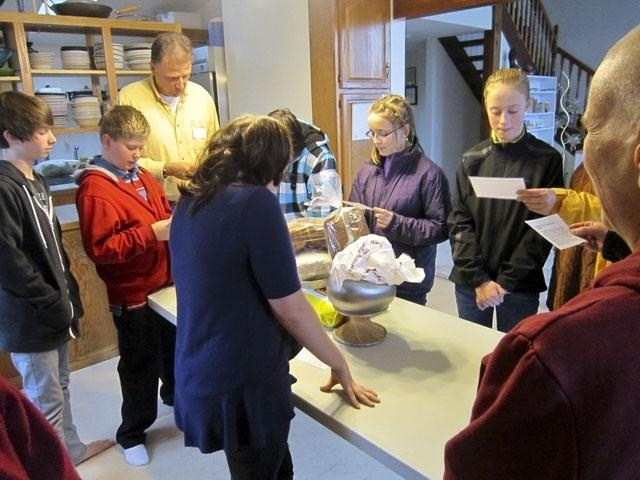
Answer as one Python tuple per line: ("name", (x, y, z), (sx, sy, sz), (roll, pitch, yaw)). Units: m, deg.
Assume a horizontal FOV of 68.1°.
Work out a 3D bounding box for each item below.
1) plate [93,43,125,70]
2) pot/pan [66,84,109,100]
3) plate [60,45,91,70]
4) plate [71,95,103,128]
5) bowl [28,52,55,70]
("plate", (-1.672, -1.428, 3.785), (0.209, 0.178, 0.231), (0, 3, 1))
("pot/pan", (-1.822, -1.172, 3.750), (0.203, 0.089, 0.205), (-6, 8, -43))
("plate", (-1.860, -1.381, 3.639), (0.200, 0.156, 0.203), (-2, 5, -4))
("plate", (-1.787, -0.977, 3.669), (0.231, 0.236, 0.230), (1, 8, 14))
("bowl", (-2.013, -1.295, 3.409), (0.135, 0.085, 0.137), (0, 5, 0))
